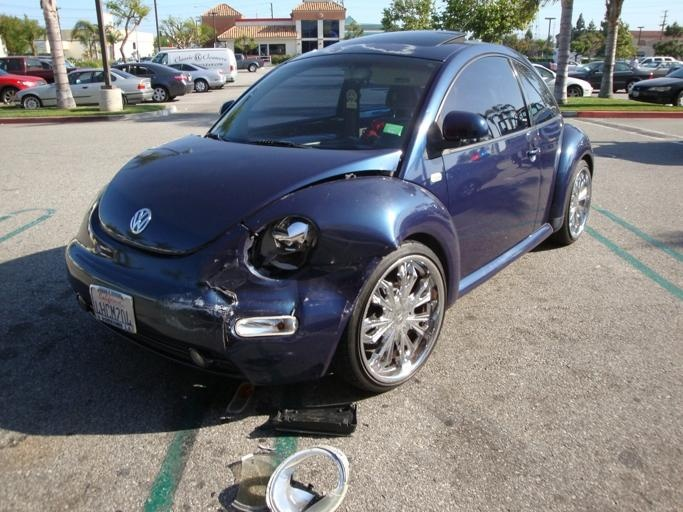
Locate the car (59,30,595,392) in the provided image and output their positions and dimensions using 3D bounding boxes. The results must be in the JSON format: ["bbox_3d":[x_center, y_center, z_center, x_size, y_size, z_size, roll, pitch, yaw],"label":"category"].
[{"bbox_3d":[0.191,-0.468,3.501,3.654,1.612,2.101,-19,23,-41],"label":"car"}]
